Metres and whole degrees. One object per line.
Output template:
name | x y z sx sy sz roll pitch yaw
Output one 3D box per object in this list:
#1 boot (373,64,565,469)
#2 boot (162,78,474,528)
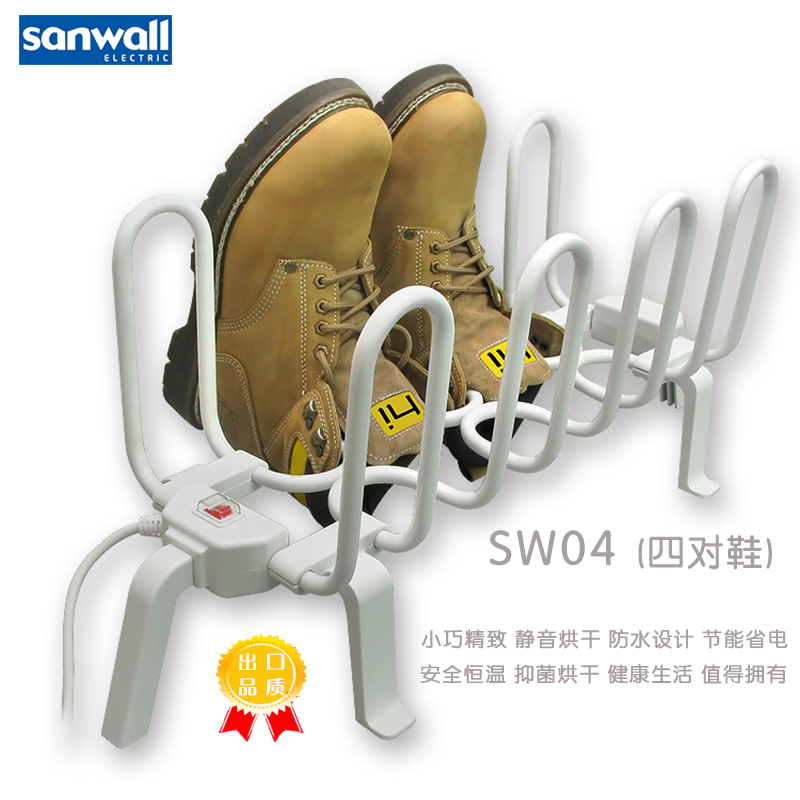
boot | 0.152 -0.138 1.470 0.219 0.799 0.333 -12 32 -26
boot | -0.109 -0.028 1.316 0.277 0.788 0.475 -8 39 -34
